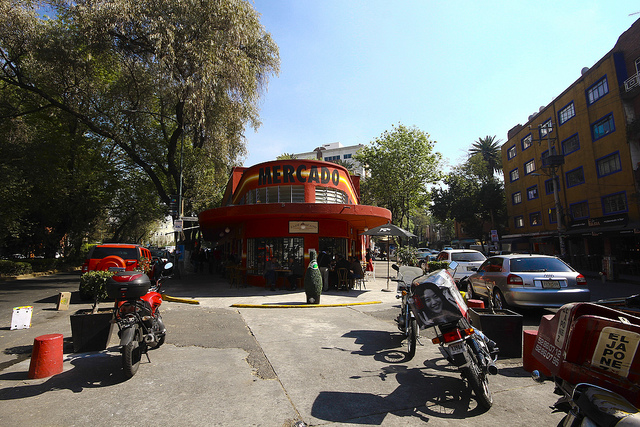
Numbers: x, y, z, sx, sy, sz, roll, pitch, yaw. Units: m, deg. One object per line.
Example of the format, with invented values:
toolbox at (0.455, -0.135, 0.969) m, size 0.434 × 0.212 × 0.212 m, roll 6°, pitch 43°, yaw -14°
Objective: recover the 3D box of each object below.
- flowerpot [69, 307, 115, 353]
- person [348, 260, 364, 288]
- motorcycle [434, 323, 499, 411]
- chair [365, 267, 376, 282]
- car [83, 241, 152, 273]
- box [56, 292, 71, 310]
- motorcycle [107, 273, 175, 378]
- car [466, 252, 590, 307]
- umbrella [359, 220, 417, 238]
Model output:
flowerpot at (-6.499, 3.304, 11.511) m, size 1.026 × 0.956 × 1.251 m, roll -16°, pitch -19°, yaw 38°
person at (1.868, 2.986, 20.854) m, size 1.001 × 1.581 × 0.993 m, roll 2°, pitch 3°, yaw 15°
motorcycle at (3.487, 3.533, 9.620) m, size 1.235 × 1.794 × 0.905 m, roll 1°, pitch 8°, yaw 6°
chair at (3.598, 4.146, 27.932) m, size 0.901 × 1.023 × 0.915 m, roll 2°, pitch -6°, yaw -24°
car at (-9.029, 1.942, 17.832) m, size 2.518 × 1.084 × 2.085 m, roll -5°, pitch 9°, yaw -31°
box at (-9.988, 3.369, 15.655) m, size 0.468 × 0.621 × 0.308 m, roll -4°, pitch 9°, yaw -25°
motorcycle at (-4.874, 3.005, 10.868) m, size 0.873 × 1.950 × 1.832 m, roll 1°, pitch 8°, yaw 9°
car at (7.313, 2.527, 14.330) m, size 3.742 × 2.000 × 1.831 m, roll 5°, pitch 10°, yaw 36°
umbrella at (3.831, 1.001, 22.200) m, size 2.233 × 0.812 × 1.840 m, roll 1°, pitch 8°, yaw 8°
